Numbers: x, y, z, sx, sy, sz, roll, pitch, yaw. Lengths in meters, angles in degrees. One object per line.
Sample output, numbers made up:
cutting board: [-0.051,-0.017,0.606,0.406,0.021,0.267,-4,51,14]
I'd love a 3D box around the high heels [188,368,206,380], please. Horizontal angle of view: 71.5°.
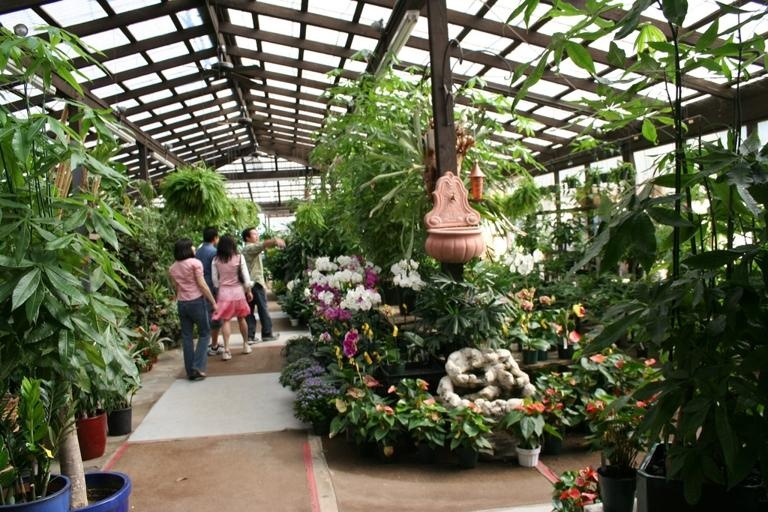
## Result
high heels: [-1.806,1.156,5.169,0.066,0.086,0.199,-1,3,6]

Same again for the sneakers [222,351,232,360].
sneakers: [-1.768,1.136,6.005,0.055,0.061,0.151,-1,4,-4]

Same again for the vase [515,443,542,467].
vase: [0.943,1.306,3.480,0.144,0.109,0.139,0,-12,0]

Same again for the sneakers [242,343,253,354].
sneakers: [-1.636,1.098,6.327,0.075,0.125,0.181,-1,3,6]

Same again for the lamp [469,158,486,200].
lamp: [0.698,-0.571,4.045,0.096,0.296,0.211,0,7,9]

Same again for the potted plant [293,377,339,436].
potted plant: [-0.508,1.075,3.951,0.369,0.405,0.380,-1,3,-13]

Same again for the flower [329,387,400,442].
flower: [-0.118,1.077,3.545,0.400,0.312,0.414,5,-18,13]

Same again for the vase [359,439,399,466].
vase: [-0.040,1.323,3.557,0.231,0.100,0.151,0,-4,7]

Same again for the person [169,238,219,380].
person: [-1.832,0.532,5.143,0.359,1.395,0.295,-2,7,-10]

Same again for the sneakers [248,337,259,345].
sneakers: [-1.688,1.123,6.931,0.144,0.064,0.058,-9,-4,30]

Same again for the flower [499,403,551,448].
flower: [0.915,1.058,3.412,0.318,0.287,0.324,-3,-13,34]

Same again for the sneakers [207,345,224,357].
sneakers: [-1.993,1.139,6.385,0.095,0.113,0.263,3,4,17]
